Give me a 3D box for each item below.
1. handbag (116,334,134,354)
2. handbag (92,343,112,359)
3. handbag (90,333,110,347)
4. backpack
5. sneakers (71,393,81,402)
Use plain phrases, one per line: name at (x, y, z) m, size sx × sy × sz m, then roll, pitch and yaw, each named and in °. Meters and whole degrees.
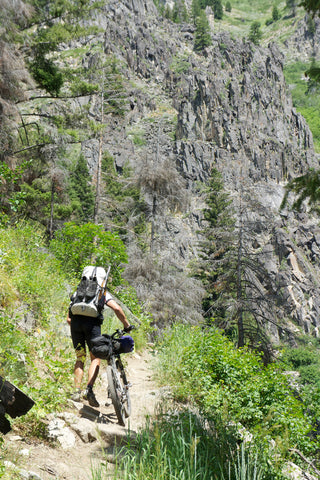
handbag at (-0.456, 1.327, 5.812) m, size 0.216 × 0.247 × 0.215 m, roll 6°, pitch -14°, yaw -27°
handbag at (-0.691, 1.354, 5.514) m, size 0.203 × 0.179 × 0.167 m, roll 10°, pitch -11°, yaw 39°
handbag at (-0.749, 1.232, 5.584) m, size 0.221 × 0.196 × 0.107 m, roll 4°, pitch -16°, yaw -22°
backpack at (-0.873, 0.609, 5.842) m, size 0.421 × 0.303 × 0.791 m, roll 10°, pitch 43°, yaw 7°
sneakers at (-1.041, 1.944, 5.617) m, size 0.114 × 0.115 × 0.098 m, roll -1°, pitch 3°, yaw -2°
